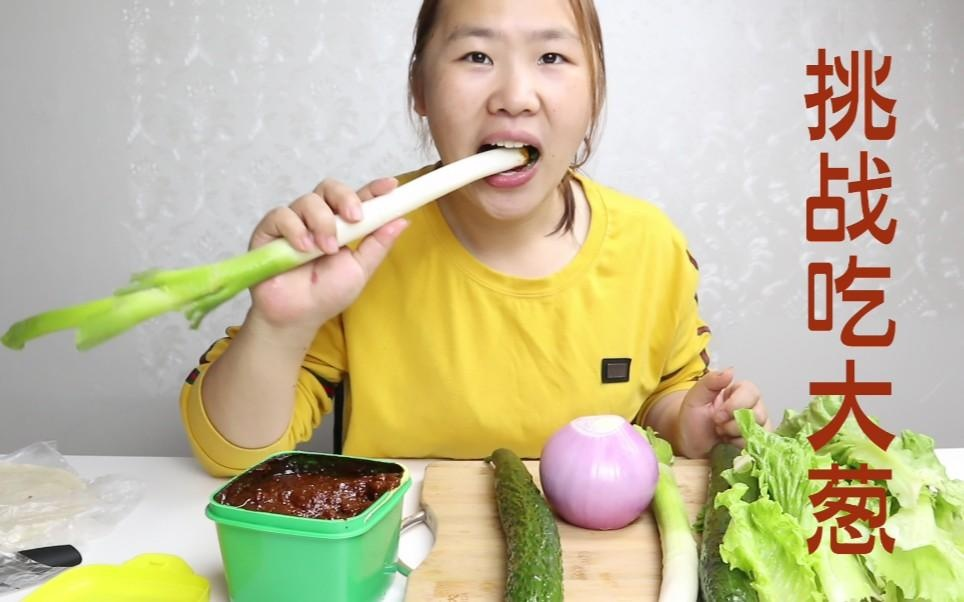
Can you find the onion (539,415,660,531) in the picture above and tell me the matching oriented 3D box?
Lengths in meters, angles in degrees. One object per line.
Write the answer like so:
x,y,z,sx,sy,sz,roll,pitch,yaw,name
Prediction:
0.234,0.349,1.497,0.216,0.179,0.217,4,-11,-13,onion
